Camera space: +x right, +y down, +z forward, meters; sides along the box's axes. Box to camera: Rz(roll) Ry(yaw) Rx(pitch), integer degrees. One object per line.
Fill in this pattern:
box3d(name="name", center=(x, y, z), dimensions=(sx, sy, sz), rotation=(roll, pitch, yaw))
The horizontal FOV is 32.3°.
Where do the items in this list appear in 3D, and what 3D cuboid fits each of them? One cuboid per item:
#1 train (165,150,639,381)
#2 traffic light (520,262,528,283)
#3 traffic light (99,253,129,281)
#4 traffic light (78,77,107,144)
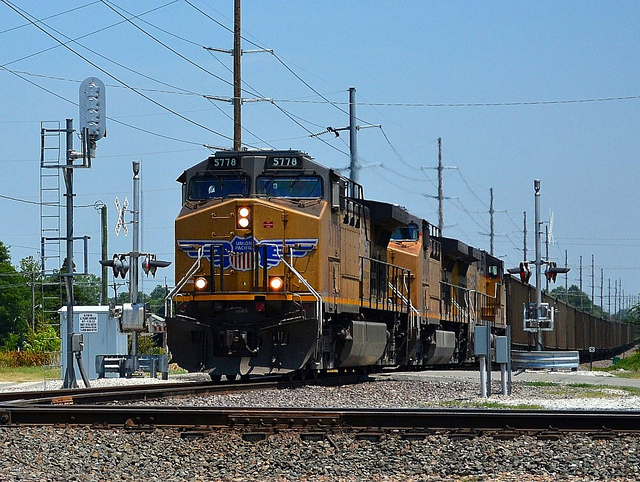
box3d(name="train", center=(3.181, 1.678, 36.697), dimensions=(4.958, 4.832, 26.967), rotation=(-2, -5, 24))
box3d(name="traffic light", center=(6.634, 1.003, 36.035), dimensions=(0.175, 0.700, 0.182), rotation=(-2, -4, 6))
box3d(name="traffic light", center=(-5.086, 0.621, 28.231), dimensions=(0.453, 0.601, 0.717), rotation=(0, -2, 37))
box3d(name="traffic light", center=(-5.757, -3.333, 28.076), dimensions=(0.618, 1.717, 0.786), rotation=(2, -1, -14))
